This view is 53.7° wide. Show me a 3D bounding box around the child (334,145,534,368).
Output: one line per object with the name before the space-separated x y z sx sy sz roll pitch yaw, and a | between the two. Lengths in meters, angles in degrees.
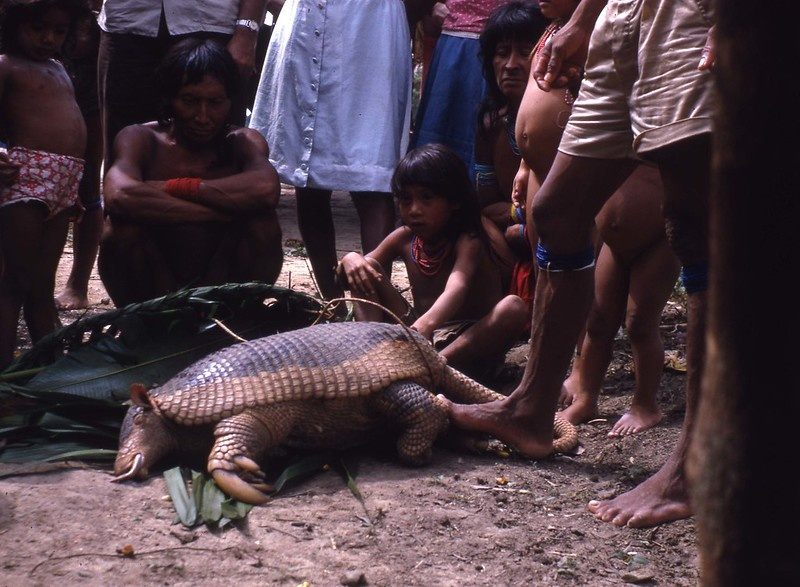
child | 0.108 -0.162 3.472 0.827 1.088 0.792 0 9 32

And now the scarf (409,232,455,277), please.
scarf | 0.132 -0.163 3.525 0.154 0.188 0.074 -4 -9 35

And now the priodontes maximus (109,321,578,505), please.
priodontes maximus | -0.351 0.301 2.516 0.981 0.356 0.669 -6 -18 -17

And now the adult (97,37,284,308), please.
adult | -0.961 -0.537 3.610 0.814 1.207 0.461 -2 13 -22

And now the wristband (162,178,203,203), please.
wristband | -0.969 -0.451 3.493 0.117 0.067 0.100 1 0 5

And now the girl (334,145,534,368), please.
girl | 0.156 -0.161 3.497 0.697 1.094 0.804 -10 10 -37

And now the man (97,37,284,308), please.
man | -0.961 -0.537 3.610 0.814 1.207 0.461 -2 13 -22
